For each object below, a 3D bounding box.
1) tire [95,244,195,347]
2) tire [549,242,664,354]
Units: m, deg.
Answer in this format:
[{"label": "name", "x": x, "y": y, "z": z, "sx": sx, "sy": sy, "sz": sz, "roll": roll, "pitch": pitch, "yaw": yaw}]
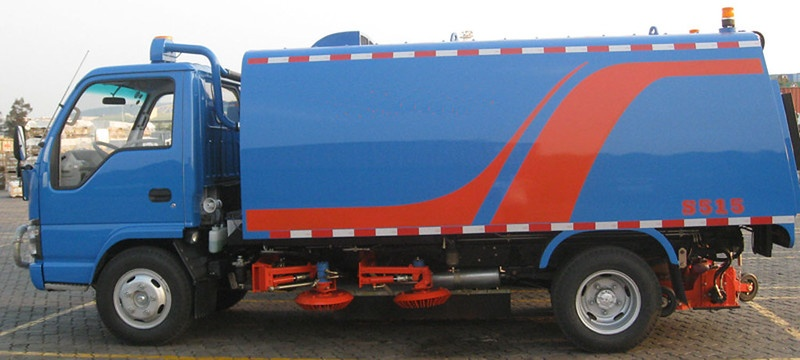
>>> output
[{"label": "tire", "x": -5.232, "y": 2.508, "z": 12.130, "sx": 2.491, "sy": 2.006, "sz": 0.807, "roll": -3, "pitch": -4, "yaw": 23}, {"label": "tire", "x": 4.191, "y": 2.420, "z": 11.590, "sx": 2.788, "sy": 2.189, "sz": 0.798, "roll": 2, "pitch": 6, "yaw": 1}]
